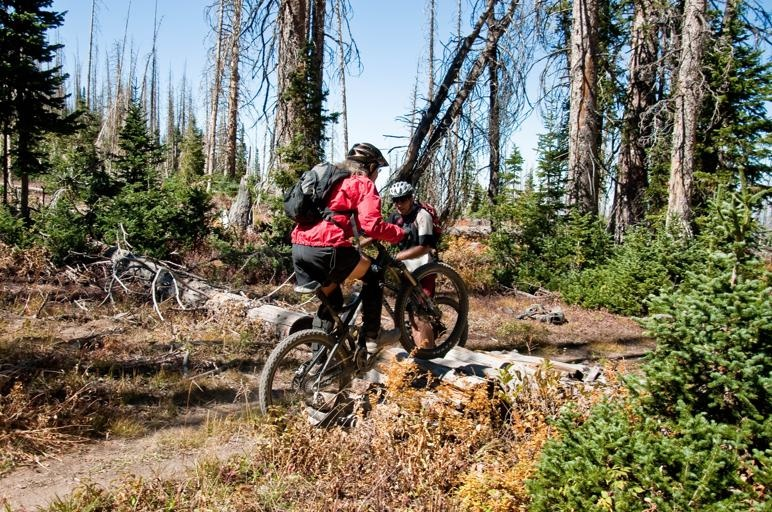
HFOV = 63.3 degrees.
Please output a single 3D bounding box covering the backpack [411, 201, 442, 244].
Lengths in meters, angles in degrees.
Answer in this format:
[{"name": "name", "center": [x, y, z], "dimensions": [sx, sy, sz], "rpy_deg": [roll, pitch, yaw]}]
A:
[{"name": "backpack", "center": [0.811, -0.663, 11.513], "dimensions": [0.743, 0.763, 0.496], "rpy_deg": [-6, 9, -9]}]
